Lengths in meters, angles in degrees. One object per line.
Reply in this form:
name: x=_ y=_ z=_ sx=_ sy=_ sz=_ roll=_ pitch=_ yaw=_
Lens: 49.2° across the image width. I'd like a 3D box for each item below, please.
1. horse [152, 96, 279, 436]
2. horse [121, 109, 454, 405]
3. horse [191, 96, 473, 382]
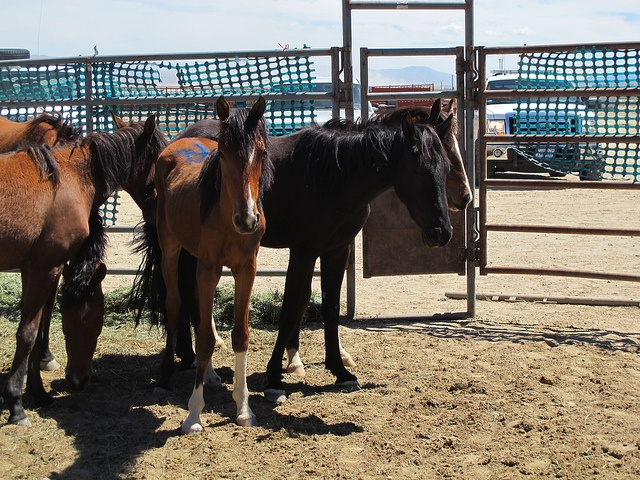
horse: x=-0.940 y=0.143 z=6.089 sx=0.864 sy=2.760 sz=1.704 roll=-8 pitch=15 yaw=-27
horse: x=-0.164 y=0.054 z=7.051 sx=3.216 sy=2.787 sz=0.886 roll=6 pitch=4 yaw=39
horse: x=-0.342 y=0.088 z=7.033 sx=3.102 sy=2.726 sz=0.838 roll=4 pitch=6 yaw=30
